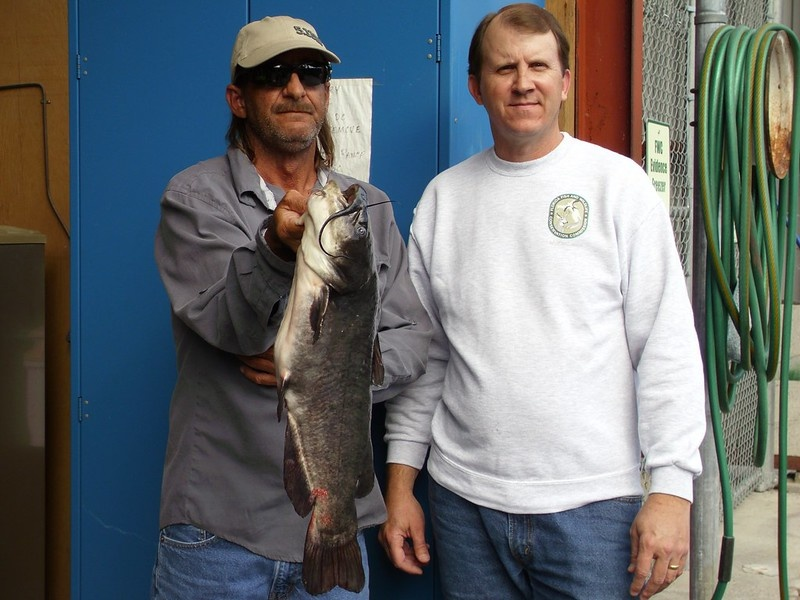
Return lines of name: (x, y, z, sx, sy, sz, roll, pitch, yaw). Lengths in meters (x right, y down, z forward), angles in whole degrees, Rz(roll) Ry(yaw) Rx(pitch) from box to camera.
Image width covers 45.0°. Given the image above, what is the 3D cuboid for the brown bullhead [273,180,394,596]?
brown bullhead: (-0.233, 0.269, 3.270, 0.464, 1.619, 0.324, -2, 9, -16)
